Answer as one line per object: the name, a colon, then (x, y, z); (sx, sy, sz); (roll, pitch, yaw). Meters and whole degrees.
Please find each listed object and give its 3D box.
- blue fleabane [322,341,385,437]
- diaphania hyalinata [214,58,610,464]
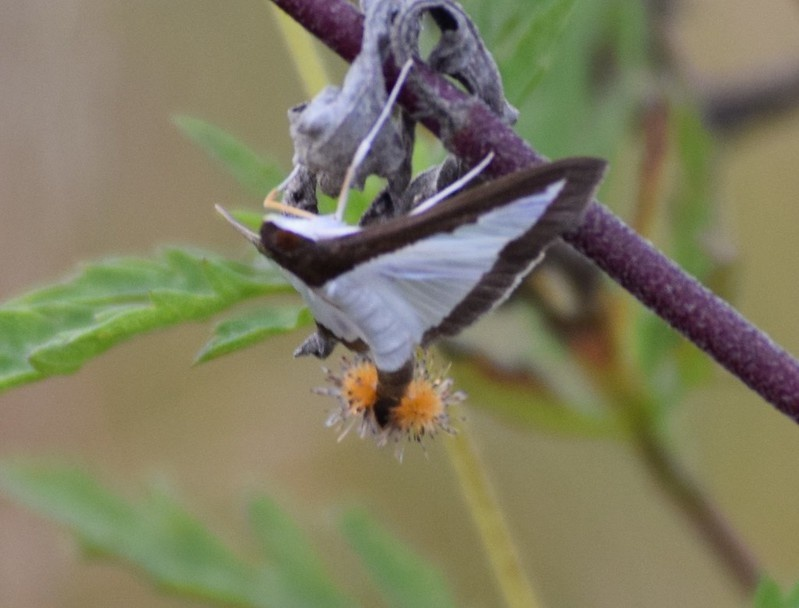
blue fleabane: (-0.037, 0.088, 0.961); (0.044, 0.087, 0.062); (-1, 26, 2)
diaphania hyalinata: (0.001, -0.059, 0.895); (0.322, 0.414, 0.240); (20, 23, 31)
